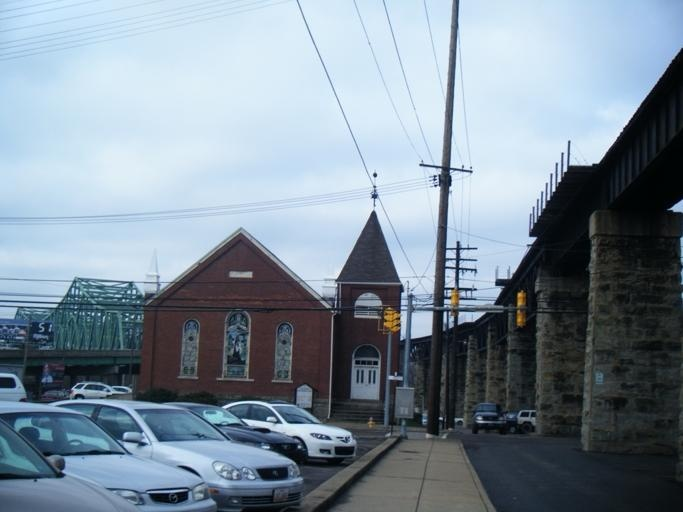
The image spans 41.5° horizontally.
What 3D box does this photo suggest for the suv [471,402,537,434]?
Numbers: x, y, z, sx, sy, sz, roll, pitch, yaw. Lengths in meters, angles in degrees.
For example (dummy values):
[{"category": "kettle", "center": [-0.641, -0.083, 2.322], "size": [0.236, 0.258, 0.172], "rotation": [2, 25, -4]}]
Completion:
[{"category": "suv", "center": [9.044, 8.901, 49.600], "size": [3.002, 1.310, 1.707], "rotation": [3, -9, -8]}]
